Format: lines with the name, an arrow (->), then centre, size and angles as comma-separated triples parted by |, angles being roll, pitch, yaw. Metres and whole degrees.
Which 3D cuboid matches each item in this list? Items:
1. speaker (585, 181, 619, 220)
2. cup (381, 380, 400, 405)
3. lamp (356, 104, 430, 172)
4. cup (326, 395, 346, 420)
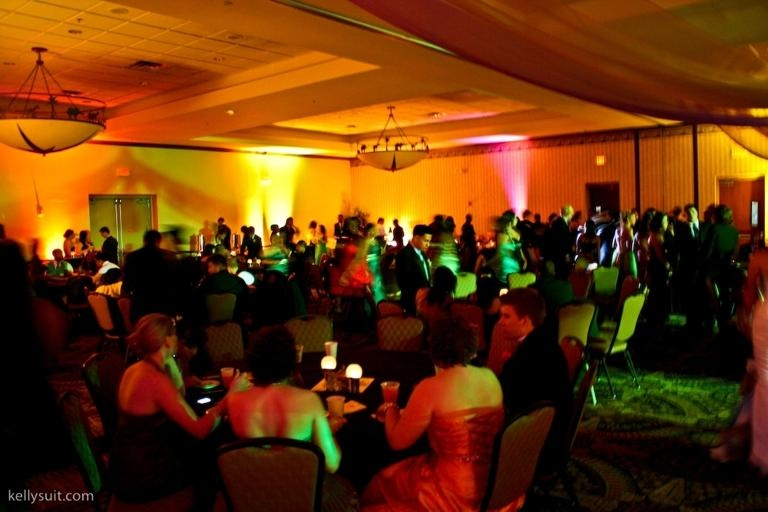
speaker -> 5.895, -1.517, 14.408 | 1.140, 1.225, 0.883 | 2, 6, 35
cup -> 0.047, 0.823, 3.307 | 0.127, 0.146, 0.129 | -1, 0, 0
lamp -> 0.232, -2.992, 13.445 | 1.654, 1.809, 1.714 | 2, 3, 41
cup -> -0.272, 0.871, 3.115 | 0.111, 0.122, 0.116 | -1, 3, 0
